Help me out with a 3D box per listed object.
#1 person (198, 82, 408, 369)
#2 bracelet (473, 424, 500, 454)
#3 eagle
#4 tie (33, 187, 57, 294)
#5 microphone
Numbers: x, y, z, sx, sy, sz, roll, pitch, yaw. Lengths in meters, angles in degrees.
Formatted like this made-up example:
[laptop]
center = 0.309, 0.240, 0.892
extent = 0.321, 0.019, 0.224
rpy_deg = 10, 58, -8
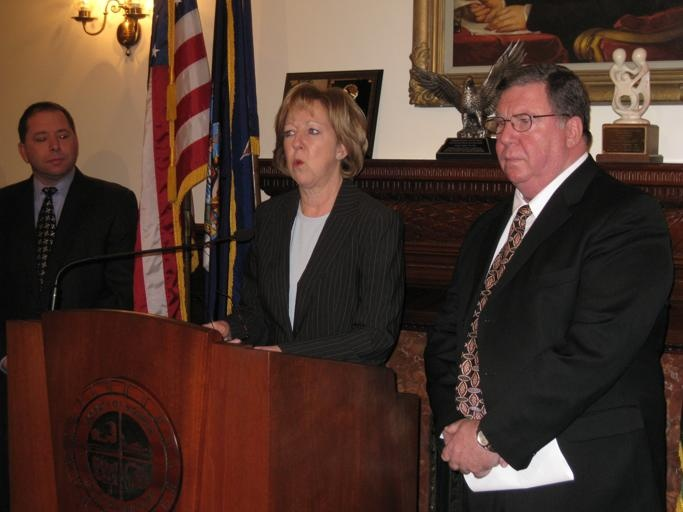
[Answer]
[person]
center = -0.130, -0.071, 2.912
extent = 0.616, 1.228, 0.725
rpy_deg = 4, 11, 13
[bracelet]
center = 0.465, 0.600, 2.387
extent = 0.042, 0.077, 0.055
rpy_deg = -31, 27, -5
[eagle]
center = 0.624, -0.791, 3.621
extent = 0.576, 0.434, 0.227
rpy_deg = 2, 9, 25
[tie]
center = -1.452, -0.107, 3.586
extent = 0.120, 0.573, 0.055
rpy_deg = -9, -24, 6
[microphone]
center = -0.724, 0.103, 2.719
extent = 0.062, 0.309, 0.738
rpy_deg = 17, 17, 42
